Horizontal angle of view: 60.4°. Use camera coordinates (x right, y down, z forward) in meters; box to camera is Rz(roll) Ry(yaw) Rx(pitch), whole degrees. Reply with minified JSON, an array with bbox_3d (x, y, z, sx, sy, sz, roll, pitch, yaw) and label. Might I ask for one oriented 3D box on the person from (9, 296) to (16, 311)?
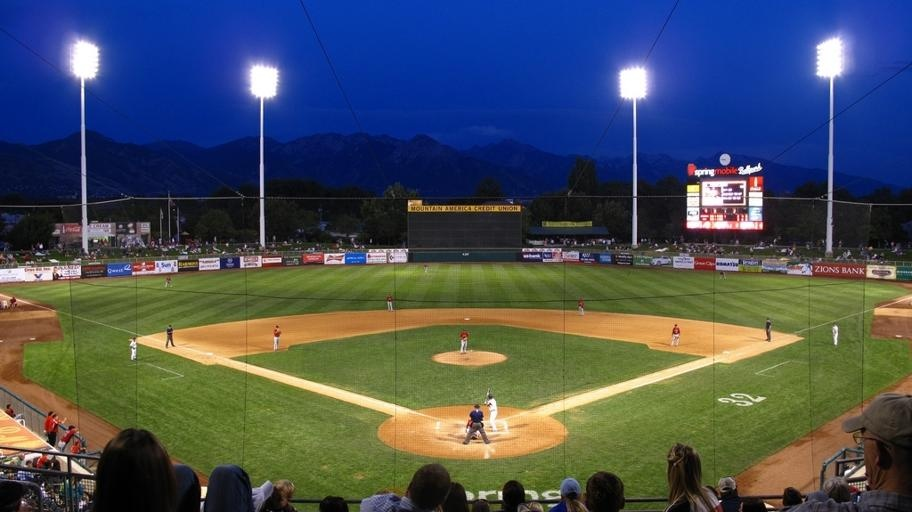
[{"bbox_3d":[-41.483,4.394,73.479,0.727,1.125,1.539,1,-1,-29],"label":"person"}]
